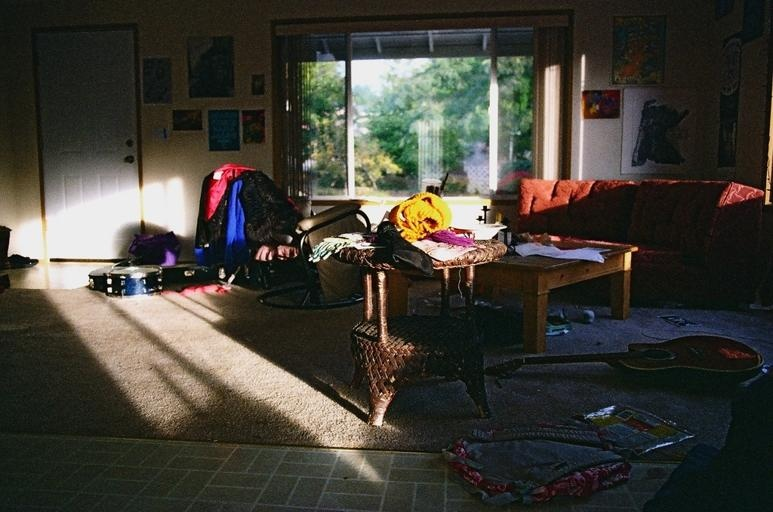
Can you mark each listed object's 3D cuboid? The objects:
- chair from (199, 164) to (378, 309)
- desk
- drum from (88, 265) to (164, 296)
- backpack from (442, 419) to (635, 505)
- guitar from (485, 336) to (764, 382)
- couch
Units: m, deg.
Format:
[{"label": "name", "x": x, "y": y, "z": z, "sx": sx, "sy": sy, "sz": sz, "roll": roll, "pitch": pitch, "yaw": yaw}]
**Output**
[{"label": "chair", "x": -0.612, "y": -0.179, "z": 5.488, "sx": 1.740, "sy": 1.066, "sz": 1.276, "roll": 0, "pitch": 6, "yaw": -32}, {"label": "desk", "x": 0.430, "y": 0.367, "z": 3.632, "sx": 1.854, "sy": 0.706, "sz": 0.930, "roll": -5, "pitch": 9, "yaw": -16}, {"label": "drum", "x": -2.355, "y": 0.216, "z": 5.321, "sx": 0.500, "sy": 0.133, "sz": 0.335, "roll": 3, "pitch": 5, "yaw": 17}, {"label": "backpack", "x": 0.700, "y": 0.979, "z": 2.852, "sx": 0.579, "sy": 0.120, "sz": 0.402, "roll": -2, "pitch": 7, "yaw": -1}, {"label": "guitar", "x": 1.422, "y": 0.624, "z": 3.622, "sx": 1.570, "sy": 0.120, "sz": 0.507, "roll": -3, "pitch": 12, "yaw": 6}, {"label": "couch", "x": 2.117, "y": -0.137, "z": 5.225, "sx": 0.897, "sy": 0.779, "sz": 1.742, "roll": -21, "pitch": 16, "yaw": -34}]
